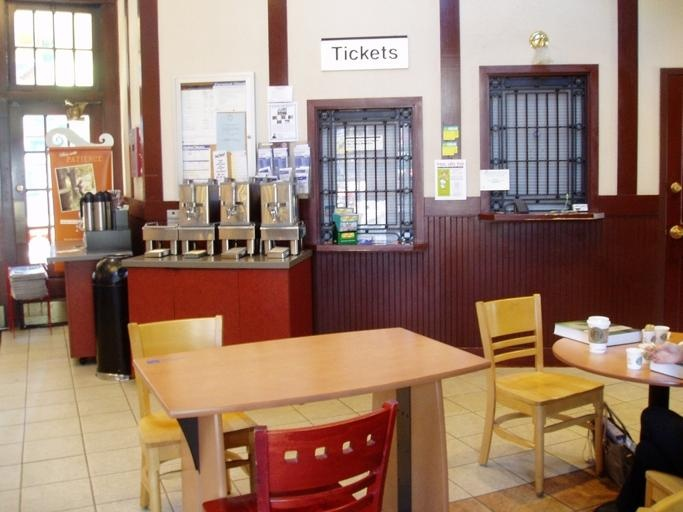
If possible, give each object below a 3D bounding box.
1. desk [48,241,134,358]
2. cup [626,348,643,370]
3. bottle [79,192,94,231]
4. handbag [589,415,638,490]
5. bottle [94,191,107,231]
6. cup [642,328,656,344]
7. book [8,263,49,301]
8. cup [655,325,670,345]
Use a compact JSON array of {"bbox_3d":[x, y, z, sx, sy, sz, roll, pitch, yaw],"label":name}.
[{"bbox_3d":[-2.696,0.484,6.419,0.874,1.241,1.284,-1,6,-14],"label":"desk"},{"bbox_3d":[1.515,0.524,3.183,0.097,0.105,0.097,0,0,0],"label":"cup"},{"bbox_3d":[-2.573,-0.464,6.261,0.128,0.385,0.370,-5,11,-22],"label":"bottle"},{"bbox_3d":[1.664,1.220,3.792,0.176,0.397,0.422,-1,5,-5],"label":"handbag"},{"bbox_3d":[-2.431,-0.462,6.195,0.126,0.371,0.102,-4,11,-13],"label":"bottle"},{"bbox_3d":[1.719,0.445,3.462,0.073,0.084,0.080,0,7,0],"label":"cup"},{"bbox_3d":[-3.637,0.343,7.167,0.400,0.430,0.483,-7,12,-29],"label":"book"},{"bbox_3d":[1.808,0.443,3.483,0.090,0.084,0.109,1,-6,0],"label":"cup"}]
